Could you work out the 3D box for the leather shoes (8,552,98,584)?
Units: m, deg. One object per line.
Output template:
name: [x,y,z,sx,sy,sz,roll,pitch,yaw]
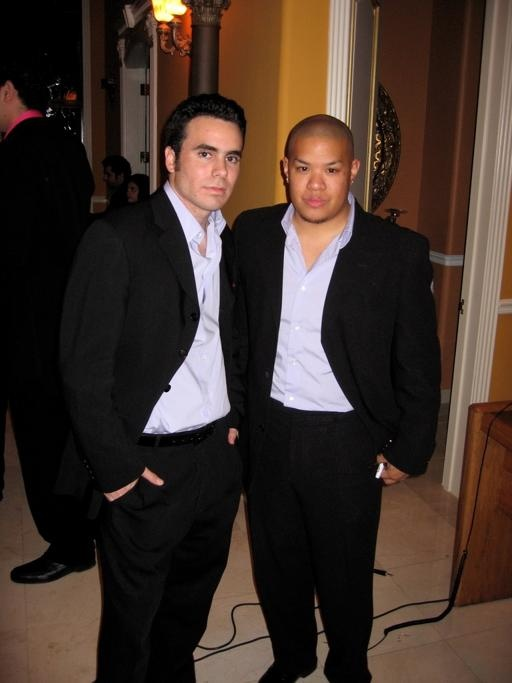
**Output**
leather shoes: [-0.798,0.870,2.275,0.285,0.140,0.108,2,-10,-25]
